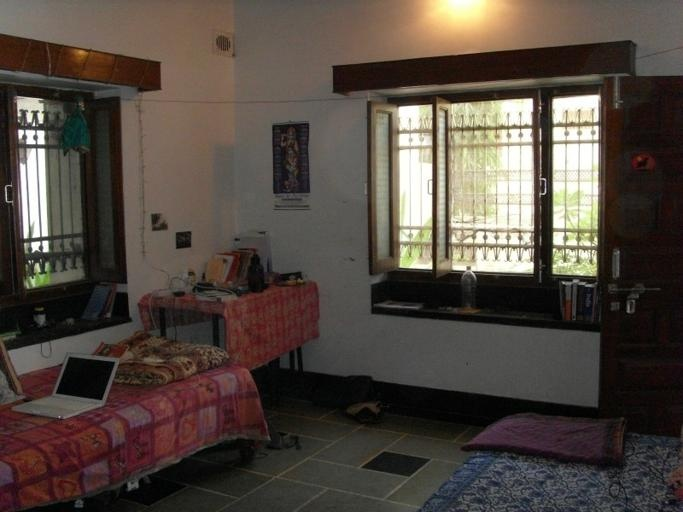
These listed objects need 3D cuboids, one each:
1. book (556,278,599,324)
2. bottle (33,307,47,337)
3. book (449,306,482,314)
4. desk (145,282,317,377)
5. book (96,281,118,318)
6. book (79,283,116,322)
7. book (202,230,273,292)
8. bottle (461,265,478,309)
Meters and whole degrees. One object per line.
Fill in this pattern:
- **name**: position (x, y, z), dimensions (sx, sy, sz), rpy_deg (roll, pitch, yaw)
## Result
- **book**: position (2.016, 0.325, 4.749), dimensions (0.304, 0.411, 0.413), rpy_deg (2, 5, 29)
- **bottle**: position (-2.471, 0.505, 4.549), dimensions (0.094, 0.175, 0.108), rpy_deg (-5, 9, -37)
- **book**: position (1.133, 0.495, 5.110), dimensions (0.303, 0.028, 0.224), rpy_deg (3, 8, 20)
- **desk**: position (-1.080, 0.502, 5.393), dimensions (1.015, 1.047, 1.320), rpy_deg (1, 3, 31)
- **book**: position (-2.086, 0.404, 5.015), dimensions (0.258, 0.258, 0.061), rpy_deg (7, -2, 34)
- **book**: position (-2.155, 0.406, 4.946), dimensions (0.289, 0.290, 0.069), rpy_deg (14, -16, 39)
- **book**: position (-1.000, 0.016, 5.553), dimensions (0.666, 0.542, 0.361), rpy_deg (11, 10, 36)
- **bottle**: position (1.191, 0.289, 5.172), dimensions (0.144, 0.384, 0.095), rpy_deg (2, 7, 14)
